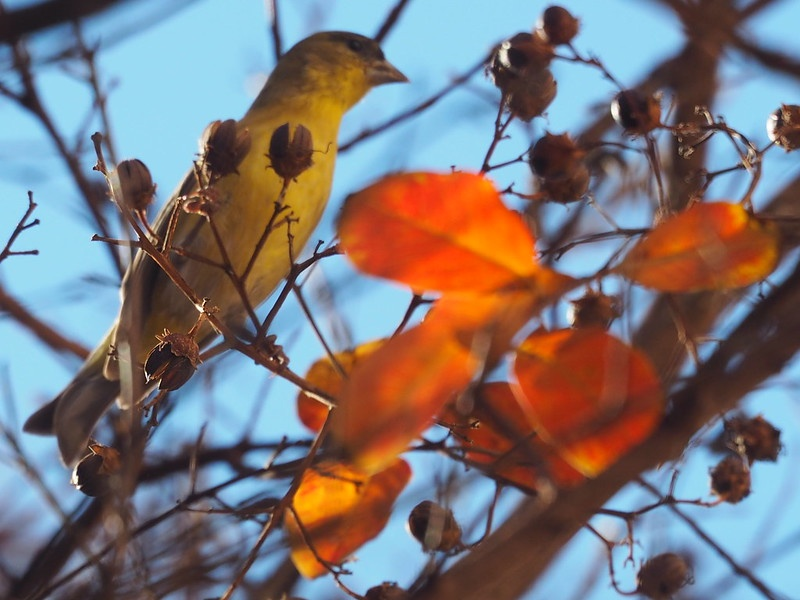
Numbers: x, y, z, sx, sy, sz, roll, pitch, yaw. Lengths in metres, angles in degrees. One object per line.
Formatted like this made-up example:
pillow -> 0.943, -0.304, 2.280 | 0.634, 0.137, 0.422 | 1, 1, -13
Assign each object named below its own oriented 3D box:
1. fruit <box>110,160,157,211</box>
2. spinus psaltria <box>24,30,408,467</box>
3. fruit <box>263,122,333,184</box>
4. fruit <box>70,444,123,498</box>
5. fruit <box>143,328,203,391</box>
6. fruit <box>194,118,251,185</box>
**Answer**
fruit -> -0.537, -0.229, 2.504 | 0.090, 0.101, 0.065 | -3, 6, -14
spinus psaltria -> -0.389, -0.038, 2.677 | 0.981, 0.612, 0.334 | -35, -33, 1
fruit -> -0.217, -0.315, 2.624 | 0.109, 0.121, 0.057 | -17, 10, -18
fruit -> -0.629, 0.348, 2.574 | 0.112, 0.089, 0.047 | -48, 20, -8
fruit -> -0.473, 0.121, 2.547 | 0.121, 0.117, 0.112 | -1, 6, 5
fruit -> -0.372, -0.310, 2.622 | 0.109, 0.135, 0.129 | -2, 6, -12
